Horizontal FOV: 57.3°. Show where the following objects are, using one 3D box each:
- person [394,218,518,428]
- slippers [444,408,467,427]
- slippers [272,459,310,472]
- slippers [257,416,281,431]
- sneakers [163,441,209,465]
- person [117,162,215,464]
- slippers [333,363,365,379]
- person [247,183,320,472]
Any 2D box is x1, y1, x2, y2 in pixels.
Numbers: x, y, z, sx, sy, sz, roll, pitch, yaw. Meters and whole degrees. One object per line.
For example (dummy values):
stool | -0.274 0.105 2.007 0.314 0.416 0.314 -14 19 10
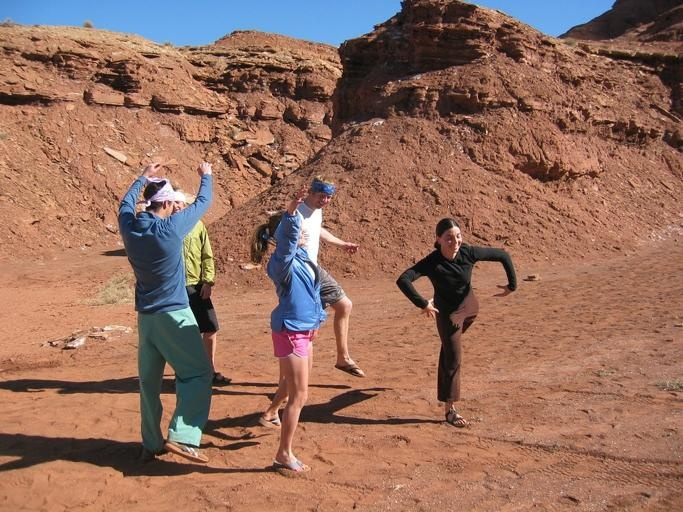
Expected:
person | 1.275 0.780 7.319 1.364 2.440 0.381 0 6 -18
slippers | 1.330 1.932 7.364 0.134 0.133 0.348 -5 -5 -25
slippers | -0.548 2.196 6.532 0.291 0.057 0.137 1 0 3
slippers | -0.840 1.979 7.377 0.322 0.111 0.101 18 26 -12
sneakers | -1.652 2.066 6.517 0.553 0.178 0.166 21 -20 -1
person | -1.816 0.609 6.563 1.047 3.186 0.614 4 7 24
slippers | 0.080 1.560 8.493 0.442 0.094 0.198 4 5 42
person | -0.554 0.762 6.837 0.638 2.955 1.076 1 6 -7
